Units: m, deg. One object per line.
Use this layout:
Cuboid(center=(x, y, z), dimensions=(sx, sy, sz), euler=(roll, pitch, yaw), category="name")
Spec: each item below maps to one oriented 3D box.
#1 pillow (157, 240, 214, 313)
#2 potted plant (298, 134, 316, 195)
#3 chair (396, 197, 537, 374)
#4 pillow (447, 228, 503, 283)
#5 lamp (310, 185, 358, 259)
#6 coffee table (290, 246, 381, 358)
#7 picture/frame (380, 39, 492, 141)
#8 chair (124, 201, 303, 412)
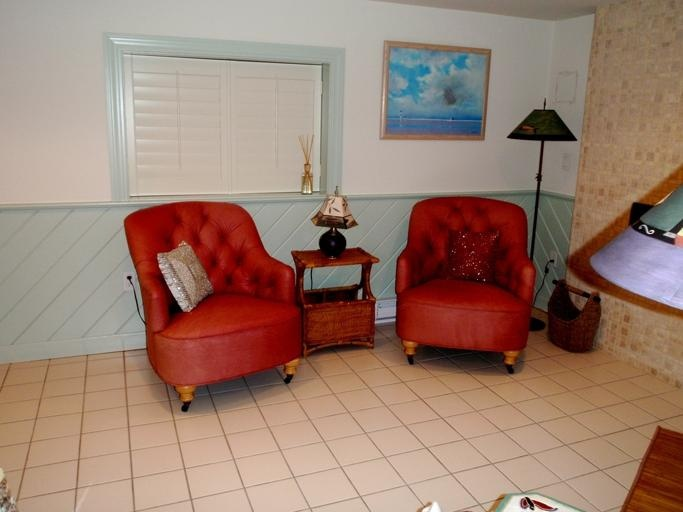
Cuboid(center=(-1.019, 0.142, 3.011), dimensions=(0.123, 0.395, 0.409), euler=(-20, 33, 15), category="pillow")
Cuboid(center=(-0.294, -0.769, 3.917), dimensions=(0.119, 0.477, 0.213), euler=(-2, 21, 4), category="potted plant")
Cuboid(center=(0.966, 0.148, 3.933), dimensions=(1.244, 1.363, 1.328), euler=(3, 8, 12), category="chair")
Cuboid(center=(1.049, -0.001, 3.679), dimensions=(0.420, 0.397, 0.189), euler=(4, -2, 3), category="pillow")
Cuboid(center=(-0.048, -0.256, 3.620), dimensions=(0.517, 0.662, 0.445), euler=(2, 9, 6), category="lamp")
Cuboid(center=(-0.073, 0.377, 3.639), dimensions=(0.780, 0.894, 0.540), euler=(-3, 16, -14), category="coffee table")
Cuboid(center=(0.786, -1.483, 4.040), dimensions=(1.005, 0.669, 0.040), euler=(-2, 12, -17), category="picture/frame")
Cuboid(center=(-0.881, 0.184, 3.514), dimensions=(1.203, 1.434, 1.461), euler=(-9, 17, -35), category="chair")
